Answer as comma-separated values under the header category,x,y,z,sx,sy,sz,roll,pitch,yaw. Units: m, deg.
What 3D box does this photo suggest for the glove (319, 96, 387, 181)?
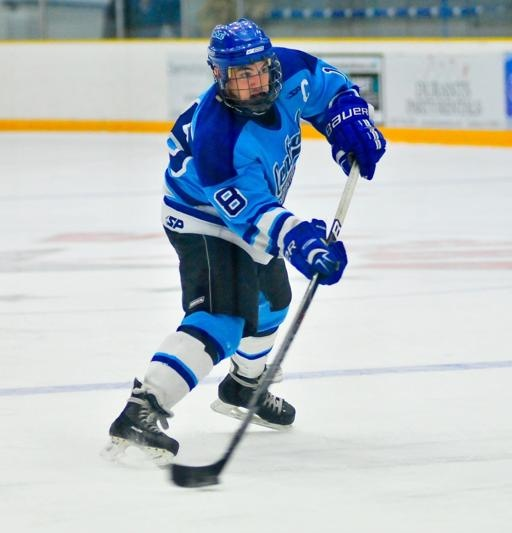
category,x,y,z,sx,sy,sz,roll,pitch,yaw
glove,0.238,-0.370,2.241,0.071,0.125,0.182,54,13,12

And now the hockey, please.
category,x,y,z,sx,sy,sz,roll,pitch,yaw
hockey,0.015,0.171,2.137,0.119,0.930,0.136,35,-14,-27

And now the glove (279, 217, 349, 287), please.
category,x,y,z,sx,sy,sz,roll,pitch,yaw
glove,0.126,-0.036,1.882,0.126,0.067,0.156,24,13,-6

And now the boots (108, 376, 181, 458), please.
category,x,y,z,sx,sy,sz,roll,pitch,yaw
boots,-0.219,0.335,1.915,0.175,0.152,0.079,12,-9,27

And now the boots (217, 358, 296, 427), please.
category,x,y,z,sx,sy,sz,roll,pitch,yaw
boots,0.035,0.329,2.311,0.293,0.168,0.092,7,17,12

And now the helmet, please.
category,x,y,z,sx,sy,sz,roll,pitch,yaw
helmet,-0.025,-0.447,1.972,0.163,0.213,0.140,2,12,-2
